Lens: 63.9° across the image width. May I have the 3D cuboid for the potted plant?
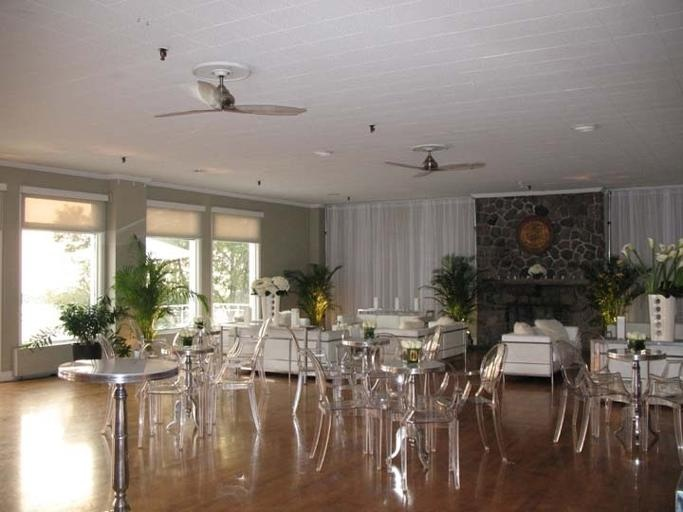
[{"bbox_3d":[-4.156,1.244,9.852,1.550,1.440,1.284,1,-1,-23],"label":"potted plant"}]

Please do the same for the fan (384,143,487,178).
[{"bbox_3d":[1.431,-1.343,7.936,0.808,0.183,0.777,2,-3,-15],"label":"fan"}]

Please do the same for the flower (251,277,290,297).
[{"bbox_3d":[-1.212,0.529,9.196,0.647,0.330,0.353,0,0,0],"label":"flower"}]

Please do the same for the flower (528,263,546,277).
[{"bbox_3d":[4.311,0.313,12.019,0.379,0.292,0.141,0,1,8],"label":"flower"}]
